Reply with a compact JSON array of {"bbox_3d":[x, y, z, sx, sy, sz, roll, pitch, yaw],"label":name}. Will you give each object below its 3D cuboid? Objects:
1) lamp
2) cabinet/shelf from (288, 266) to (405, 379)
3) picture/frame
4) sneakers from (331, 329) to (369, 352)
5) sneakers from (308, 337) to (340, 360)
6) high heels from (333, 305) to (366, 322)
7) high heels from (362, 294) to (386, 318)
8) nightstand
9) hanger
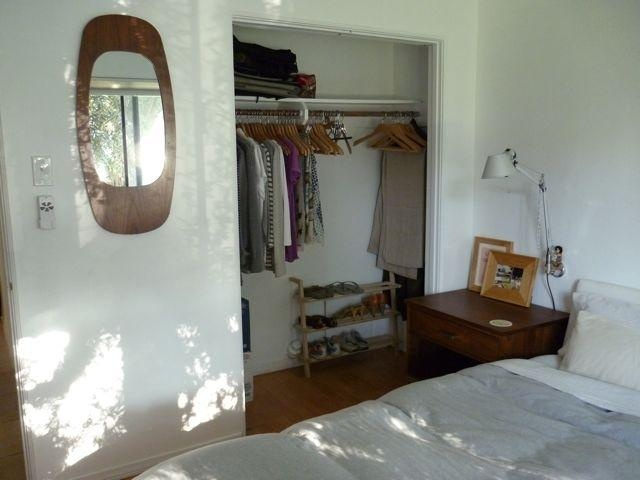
[{"bbox_3d":[1.390,-0.183,3.254,0.425,0.870,0.477,-7,10,-40],"label":"lamp"},{"bbox_3d":[0.262,0.675,4.240,0.898,0.758,0.303,-6,7,-23],"label":"cabinet/shelf"},{"bbox_3d":[1.354,0.247,3.516,0.046,0.333,0.437,4,9,-27],"label":"picture/frame"},{"bbox_3d":[0.266,0.894,4.257,0.165,0.076,0.227,-4,8,-22],"label":"sneakers"},{"bbox_3d":[0.040,0.925,4.110,0.173,0.064,0.142,-2,6,-38],"label":"sneakers"},{"bbox_3d":[0.266,0.657,4.272,0.408,0.181,0.107,-6,-3,37],"label":"high heels"},{"bbox_3d":[0.485,0.590,4.315,0.193,0.205,0.168,-5,8,3],"label":"high heels"},{"bbox_3d":[1.190,0.587,3.394,0.684,0.717,0.895,-6,11,-28],"label":"nightstand"},{"bbox_3d":[0.118,-0.885,3.907,1.593,0.403,0.656,-2,8,-15],"label":"hanger"}]
